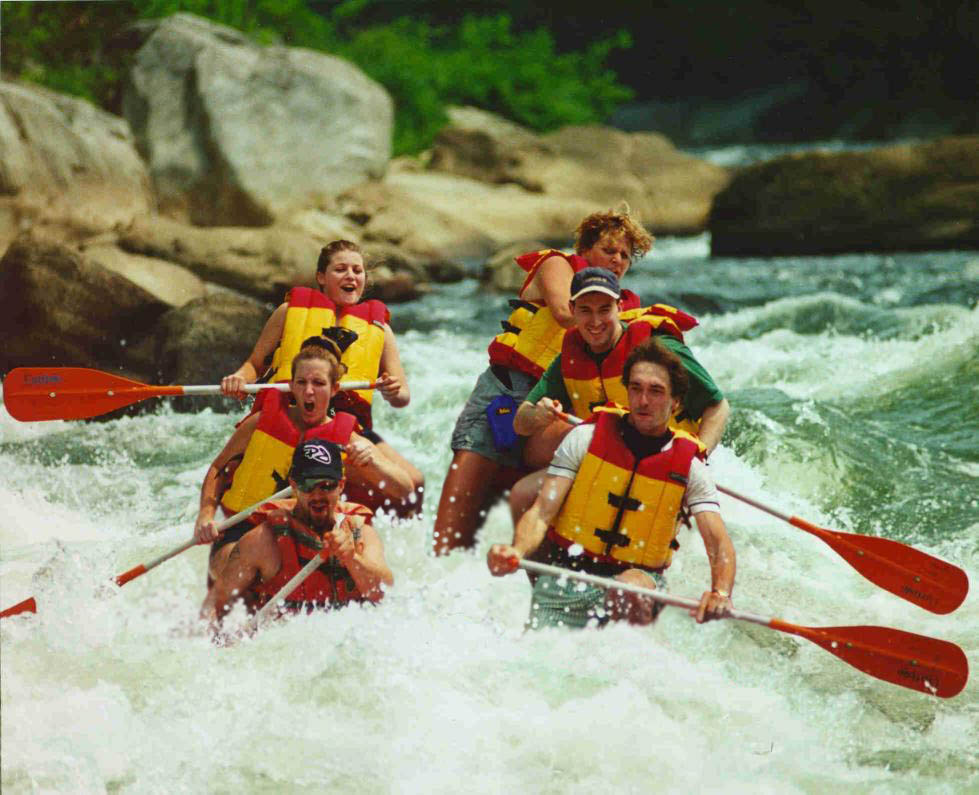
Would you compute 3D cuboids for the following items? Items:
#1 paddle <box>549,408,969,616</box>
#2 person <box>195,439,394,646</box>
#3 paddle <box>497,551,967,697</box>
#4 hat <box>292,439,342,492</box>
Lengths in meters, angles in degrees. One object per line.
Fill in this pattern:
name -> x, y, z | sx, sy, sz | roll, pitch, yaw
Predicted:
paddle -> 1.465, 0.662, 7.094 | 2.394, 0.321, 0.092 | 28, 8, 18
person -> -1.000, 0.750, 6.615 | 0.726, 1.064, 0.554 | 8, 17, -25
paddle -> 1.202, 1.189, 6.720 | 2.781, 0.380, 0.132 | 15, 1, 6
hat -> -0.858, 0.341, 6.445 | 0.253, 0.215, 0.190 | 5, 27, -8
